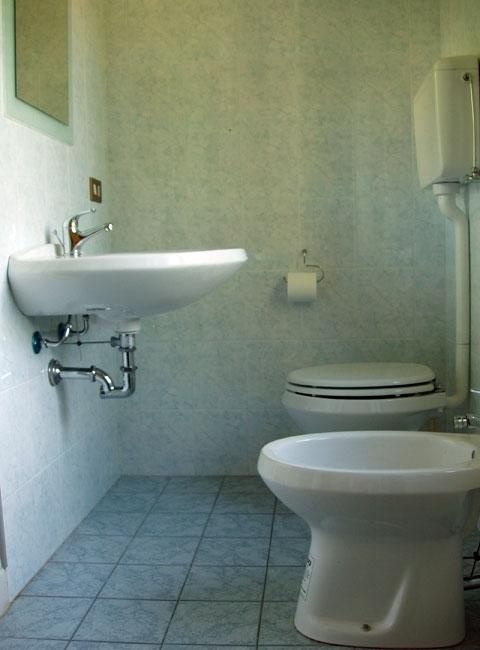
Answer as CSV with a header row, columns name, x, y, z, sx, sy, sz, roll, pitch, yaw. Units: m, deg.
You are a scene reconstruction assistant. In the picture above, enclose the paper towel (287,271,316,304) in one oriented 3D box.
name,x,y,z,sx,sy,sz,roll,pitch,yaw
paper towel,0.189,-0.116,1.845,0.102,0.090,0.078,1,21,5
